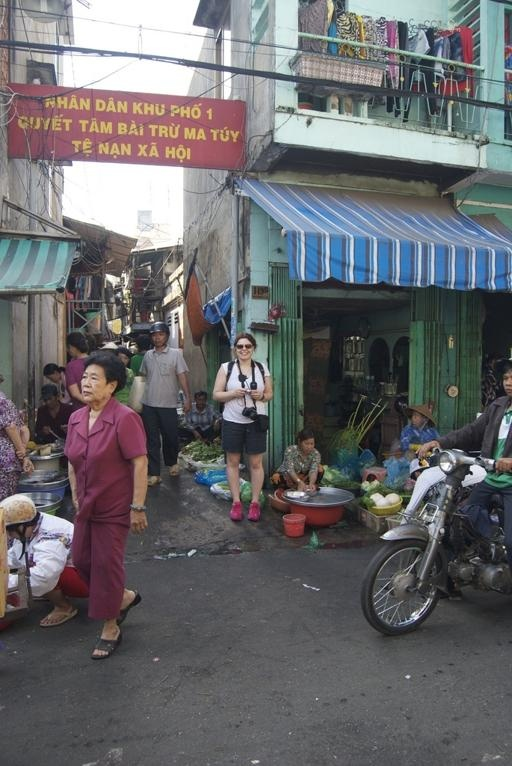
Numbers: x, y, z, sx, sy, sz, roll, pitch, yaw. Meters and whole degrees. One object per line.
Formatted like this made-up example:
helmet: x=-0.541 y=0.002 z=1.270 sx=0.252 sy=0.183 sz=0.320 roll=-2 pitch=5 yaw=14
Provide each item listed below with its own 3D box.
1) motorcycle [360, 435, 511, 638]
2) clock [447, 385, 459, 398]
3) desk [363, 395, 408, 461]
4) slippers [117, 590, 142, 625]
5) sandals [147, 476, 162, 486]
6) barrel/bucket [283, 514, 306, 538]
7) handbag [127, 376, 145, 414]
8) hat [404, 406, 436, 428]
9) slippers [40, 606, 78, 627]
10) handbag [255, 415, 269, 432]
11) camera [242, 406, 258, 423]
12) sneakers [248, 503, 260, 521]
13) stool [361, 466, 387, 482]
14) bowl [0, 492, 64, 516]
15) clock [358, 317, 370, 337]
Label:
motorcycle: x=1.032 y=0.889 z=4.498 sx=0.954 sy=1.061 sz=0.768 roll=0 pitch=6 yaw=-4
clock: x=2.452 y=0.104 z=9.375 sx=0.142 sy=0.147 sz=0.056 roll=7 pitch=-3 yaw=-23
desk: x=1.716 y=0.554 z=10.298 sx=0.433 sy=0.804 sz=0.434 roll=5 pitch=-5 yaw=-13
slippers: x=-0.732 y=1.301 z=4.438 sx=0.067 sy=0.201 sz=0.074 roll=35 pitch=-18 yaw=-18
sandals: x=-1.079 y=1.033 z=8.007 sx=0.060 sy=0.074 sz=0.175 roll=-2 pitch=-16 yaw=3
barrel/bucket: x=0.322 y=1.162 z=6.137 sx=0.158 sy=0.131 sz=0.173 roll=0 pitch=-7 yaw=0
handbag: x=-1.263 y=0.109 z=8.030 sx=0.163 sy=0.422 sz=0.322 roll=5 pitch=10 yaw=-6
hat: x=1.761 y=0.352 z=8.034 sx=0.209 sy=0.155 sz=0.282 roll=11 pitch=-32 yaw=17
slippers: x=-1.147 y=1.350 z=4.419 sx=0.205 sy=0.083 sz=0.074 roll=2 pitch=-3 yaw=-44
handbag: x=0.049 y=0.347 z=6.528 sx=0.137 sy=0.186 sz=0.095 roll=1 pitch=5 yaw=-16
camera: x=-0.045 y=0.260 z=6.493 sx=0.136 sy=0.145 sz=0.086 roll=18 pitch=20 yaw=32
sneakers: x=-0.010 y=1.117 z=6.611 sx=0.106 sy=0.149 sz=0.208 roll=0 pitch=6 yaw=-3
stool: x=1.167 y=0.889 z=7.401 sx=0.147 sy=0.122 sz=0.153 roll=3 pitch=-1 yaw=33
bowl: x=-1.598 y=0.899 z=5.694 sx=0.406 sy=0.137 sz=0.415 roll=2 pitch=1 yaw=0
clock: x=1.654 y=-0.847 z=11.549 sx=0.044 sy=0.307 sz=0.291 roll=-3 pitch=6 yaw=-26
